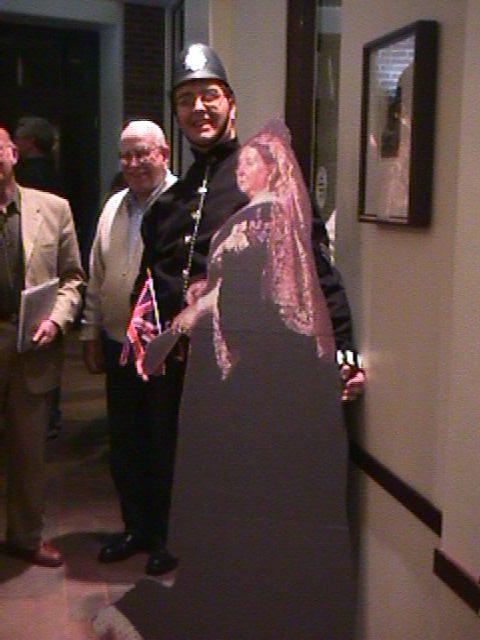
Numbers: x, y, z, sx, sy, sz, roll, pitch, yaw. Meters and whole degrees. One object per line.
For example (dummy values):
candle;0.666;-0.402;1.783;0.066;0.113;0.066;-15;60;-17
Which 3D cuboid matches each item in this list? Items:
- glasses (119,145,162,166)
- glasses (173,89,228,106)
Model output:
glasses;-0.145;-0.235;0.944;0.038;0.013;0.037;-5;4;8
glasses;-0.052;-0.320;0.944;0.044;0.015;0.029;-10;23;0
